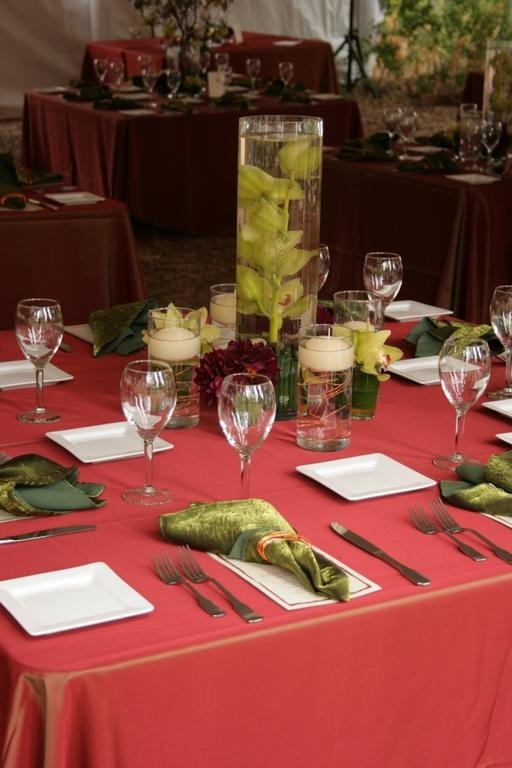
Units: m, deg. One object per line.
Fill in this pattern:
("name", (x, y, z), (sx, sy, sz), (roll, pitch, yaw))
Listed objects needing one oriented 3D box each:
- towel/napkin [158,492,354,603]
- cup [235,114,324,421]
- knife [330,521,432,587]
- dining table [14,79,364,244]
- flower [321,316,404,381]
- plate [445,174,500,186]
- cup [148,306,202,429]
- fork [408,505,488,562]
("towel/napkin", (0.002, 0.155, 0.675), (0.188, 0.040, 0.086), (18, 18, 42))
("cup", (0.029, -0.179, 1.168), (0.128, 0.462, 0.121), (1, -2, 0))
("knife", (0.135, 0.190, 0.729), (0.027, 0.009, 0.230), (-15, 16, -18))
("dining table", (-0.585, -1.957, 5.240), (2.037, 0.800, 2.022), (-4, 21, -13))
("flower", (0.204, -0.077, 1.182), (0.099, 0.052, 0.099), (18, 17, 20))
("plate", (1.166, -1.102, 3.257), (0.247, 0.067, 0.270), (-4, 18, -17))
("cup", (-0.130, -0.023, 1.196), (0.101, 0.221, 0.100), (-2, 6, 0))
("fork", (0.244, 0.186, 0.773), (0.022, 0.019, 0.130), (-9, 21, -16))
